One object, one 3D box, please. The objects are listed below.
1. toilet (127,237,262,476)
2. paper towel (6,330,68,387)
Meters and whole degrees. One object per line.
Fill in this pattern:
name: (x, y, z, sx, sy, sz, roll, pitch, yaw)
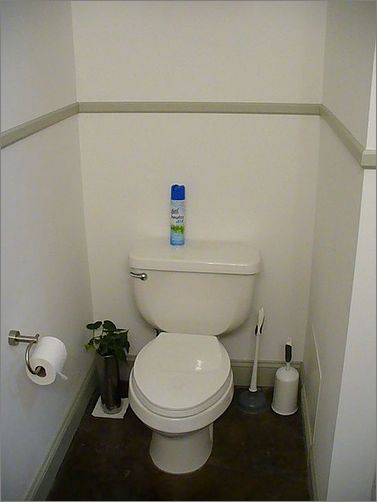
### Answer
toilet: (-0.011, 0.406, 1.610, 0.438, 0.701, 0.699, 3, 22, 6)
paper towel: (-0.390, 0.282, 1.146, 0.146, 0.102, 0.171, 9, 33, -2)
